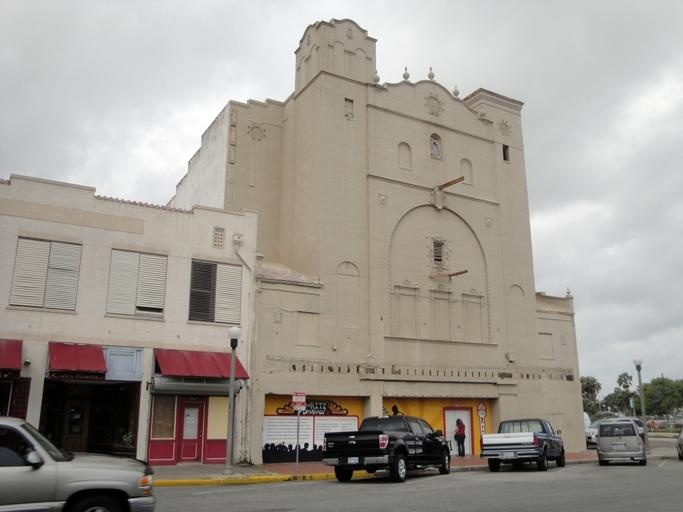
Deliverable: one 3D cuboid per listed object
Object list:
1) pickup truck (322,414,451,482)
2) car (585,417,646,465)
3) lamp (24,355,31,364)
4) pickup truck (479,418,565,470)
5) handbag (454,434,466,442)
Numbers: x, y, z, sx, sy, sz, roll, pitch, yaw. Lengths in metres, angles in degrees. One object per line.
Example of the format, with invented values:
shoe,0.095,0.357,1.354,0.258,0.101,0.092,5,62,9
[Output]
pickup truck,1.917,6.890,21.691,2.298,1.613,4.376,-9,-15,38
car,12.528,8.402,26.679,1.894,2.017,2.414,-12,-20,26
lamp,-12.159,3.980,22.751,0.298,0.374,0.202,6,-50,-21
pickup truck,7.944,7.941,25.055,2.035,1.473,3.760,-8,-14,31
handbag,6.103,9.382,30.588,0.473,0.438,0.582,-8,-13,36
